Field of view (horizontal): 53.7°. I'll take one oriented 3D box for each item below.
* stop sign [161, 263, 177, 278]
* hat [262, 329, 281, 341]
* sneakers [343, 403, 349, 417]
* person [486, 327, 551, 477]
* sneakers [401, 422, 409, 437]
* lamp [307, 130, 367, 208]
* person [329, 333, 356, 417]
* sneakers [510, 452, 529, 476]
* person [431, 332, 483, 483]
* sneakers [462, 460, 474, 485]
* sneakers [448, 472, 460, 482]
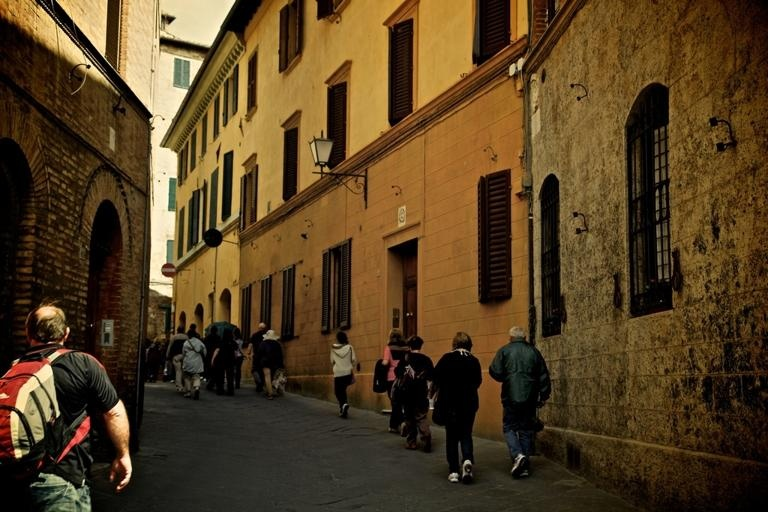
[{"bbox_3d":[-9.024,0.595,31.745,0.618,0.718,0.110,-2,-11,0],"label":"stop sign"},{"bbox_3d":[-2.962,2.055,19.633,0.317,0.257,0.549,0,-3,-14],"label":"hat"},{"bbox_3d":[-0.823,3.193,15.719,0.111,0.272,0.382,0,-3,2],"label":"sneakers"},{"bbox_3d":[1.903,1.996,10.541,0.785,1.995,0.602,2,-3,-40],"label":"person"},{"bbox_3d":[0.315,2.906,12.683,0.159,0.203,0.291,2,-4,3],"label":"sneakers"},{"bbox_3d":[-1.350,-2.128,19.354,1.306,1.995,2.341,1,-3,-18],"label":"lamp"},{"bbox_3d":[-0.838,2.483,15.991,0.528,1.748,0.872,0,-3,-4],"label":"person"},{"bbox_3d":[1.837,2.804,10.172,0.259,0.333,0.237,0,-3,-10],"label":"sneakers"},{"bbox_3d":[1.005,2.065,10.521,0.638,1.950,0.868,-1,-3,13],"label":"person"},{"bbox_3d":[1.122,2.929,10.155,0.119,0.154,0.331,1,-31,-1],"label":"sneakers"},{"bbox_3d":[0.959,2.960,10.193,0.186,0.129,0.176,1,-3,-18],"label":"sneakers"}]
